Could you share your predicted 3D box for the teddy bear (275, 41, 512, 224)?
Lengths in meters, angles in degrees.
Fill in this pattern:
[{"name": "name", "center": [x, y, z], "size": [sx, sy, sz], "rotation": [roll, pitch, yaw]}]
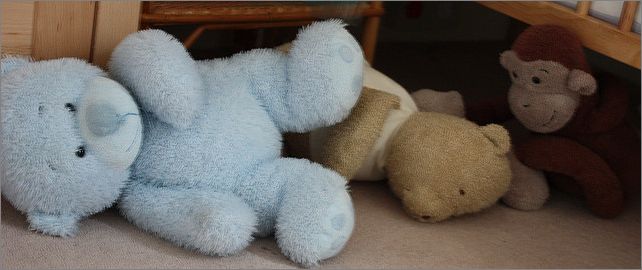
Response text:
[{"name": "teddy bear", "center": [0.229, 0.076, 2.285], "size": [1.067, 0.359, 0.711], "rotation": [21, 35, 10]}]
